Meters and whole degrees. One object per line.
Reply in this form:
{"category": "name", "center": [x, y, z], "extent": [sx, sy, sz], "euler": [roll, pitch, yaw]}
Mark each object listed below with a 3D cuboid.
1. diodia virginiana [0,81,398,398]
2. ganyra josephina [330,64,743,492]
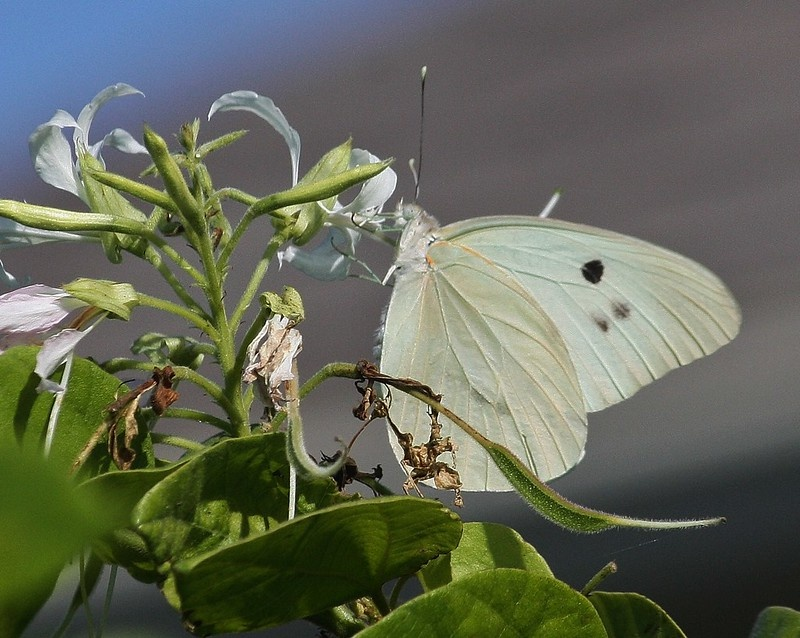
{"category": "diodia virginiana", "center": [-0.211, -0.079, 1.289], "extent": [0.495, 0.284, 0.472], "euler": [10, -16, -29]}
{"category": "ganyra josephina", "center": [0.230, 0.024, 1.922], "extent": [0.731, 0.499, 0.718], "euler": [33, -10, -20]}
